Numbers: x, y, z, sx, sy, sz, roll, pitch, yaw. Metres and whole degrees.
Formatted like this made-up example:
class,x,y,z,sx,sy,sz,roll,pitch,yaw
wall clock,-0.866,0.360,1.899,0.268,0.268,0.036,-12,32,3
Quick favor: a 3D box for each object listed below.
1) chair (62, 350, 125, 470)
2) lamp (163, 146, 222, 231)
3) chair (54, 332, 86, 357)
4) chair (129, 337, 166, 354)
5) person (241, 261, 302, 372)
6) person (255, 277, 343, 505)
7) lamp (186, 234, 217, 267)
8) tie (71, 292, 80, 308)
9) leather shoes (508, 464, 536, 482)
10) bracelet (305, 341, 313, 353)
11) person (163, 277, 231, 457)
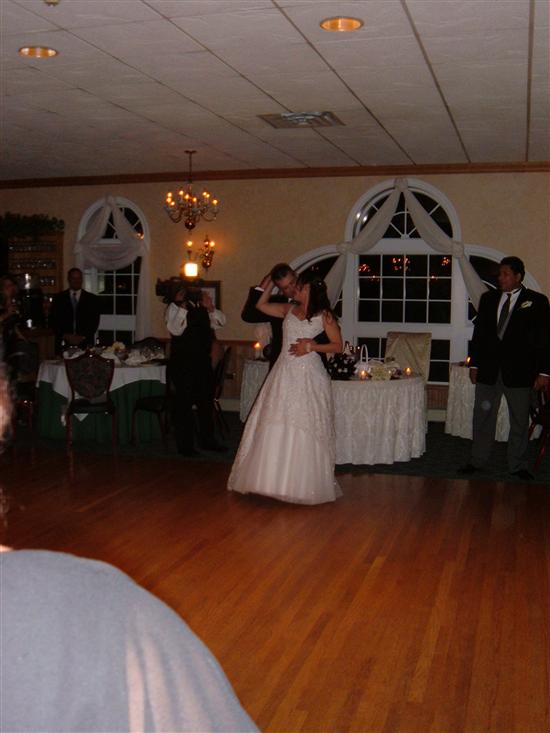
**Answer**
class,x,y,z,sx,sy,sz,roll,pitch,yaw
chair,-1.887,0.422,5.754,0.478,1.154,1.089,0,3,-17
lamp,-1.319,-2.716,8.836,0.712,1.316,0.773,0,0,-35
chair,-2.918,-0.320,7.887,0.485,0.398,0.493,1,-2,-4
chair,-1.767,-0.283,7.851,0.387,0.303,0.545,0,-3,-17
person,-0.045,-0.477,4.777,0.765,1.050,0.288,5,-4,-41
person,0.126,0.201,4.517,0.813,1.831,0.380,1,3,6
lamp,-1.188,-1.871,9.157,0.485,0.647,0.331,2,-6,22
tie,-2.932,-0.960,8.216,0.119,0.237,0.056,3,-5,-6
leather shoes,2.336,1.008,5.343,0.107,0.125,0.276,-3,0,-30
bracelet,0.269,-0.142,4.368,0.061,0.063,0.015,13,-7,-27
person,-0.860,0.041,5.967,0.608,1.862,0.770,0,3,-7
